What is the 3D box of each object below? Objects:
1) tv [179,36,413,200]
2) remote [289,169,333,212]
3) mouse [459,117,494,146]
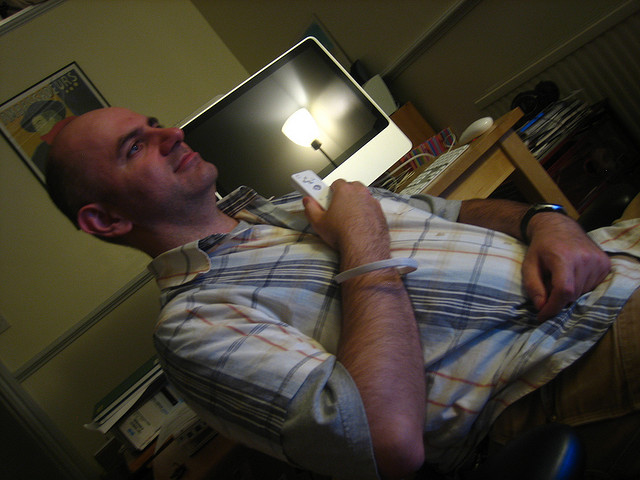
[{"bbox_3d":[-0.143,-0.391,1.867,0.834,0.571,0.211,-40,7,-8],"label":"tv"},{"bbox_3d":[-0.022,-0.136,1.251,0.073,0.149,0.030,-39,-16,-35],"label":"remote"},{"bbox_3d":[0.505,-0.345,1.501,0.112,0.031,0.077,-24,16,33],"label":"mouse"}]
